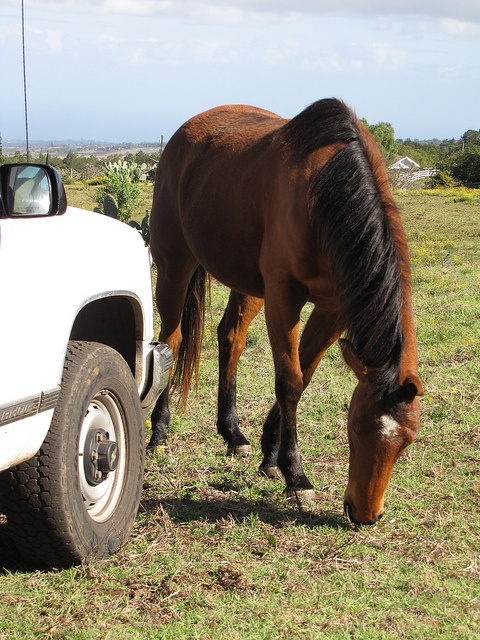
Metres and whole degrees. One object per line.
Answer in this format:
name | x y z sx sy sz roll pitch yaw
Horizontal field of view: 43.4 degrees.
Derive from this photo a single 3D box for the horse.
horse | 0.143 -0.138 4.002 0.915 2.355 3.153 -1 11 -24
